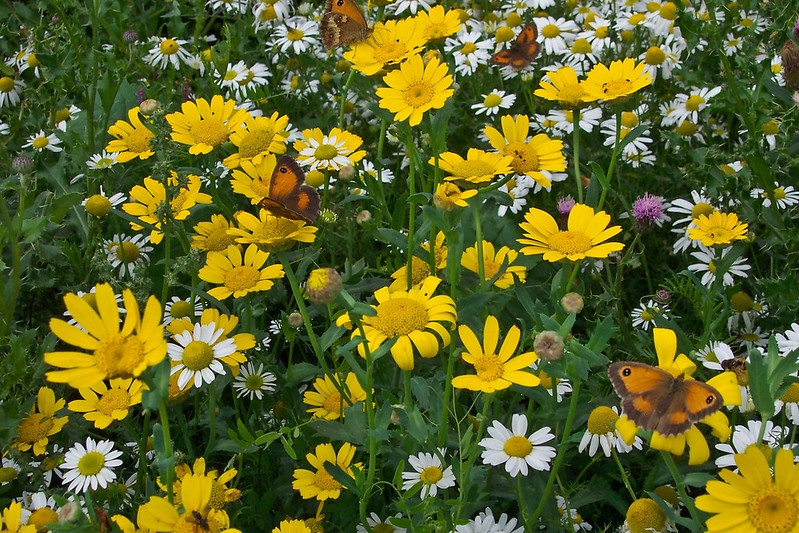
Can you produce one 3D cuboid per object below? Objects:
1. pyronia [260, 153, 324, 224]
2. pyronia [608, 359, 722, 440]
[{"bbox_3d":[-0.421,-0.265,3.138,0.230,0.146,0.274,37,82,11],"label":"pyronia"},{"bbox_3d":[0.889,0.408,2.593,0.350,0.255,0.077,20,3,16],"label":"pyronia"}]
